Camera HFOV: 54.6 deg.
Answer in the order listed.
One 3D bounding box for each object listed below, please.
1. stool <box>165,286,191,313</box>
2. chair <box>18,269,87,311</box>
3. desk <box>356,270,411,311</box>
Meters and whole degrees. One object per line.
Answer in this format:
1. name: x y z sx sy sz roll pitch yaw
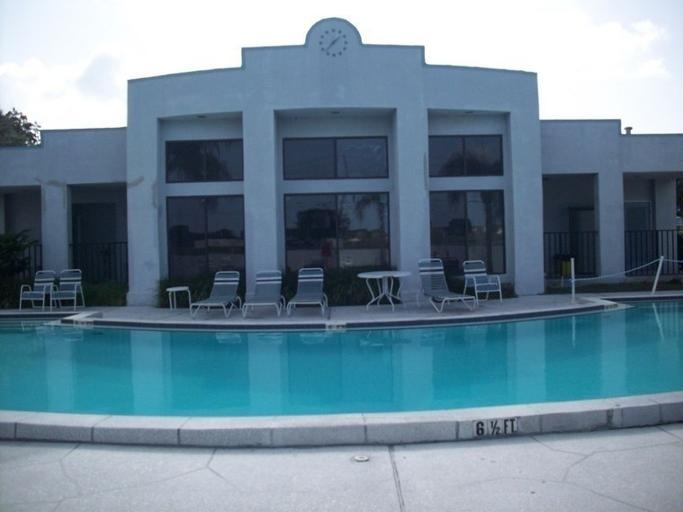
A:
1. stool: -3.877 0.901 15.417 0.703 0.795 0.629 0 -7 -10
2. chair: -7.037 0.797 16.201 1.783 0.970 1.238 -3 -4 20
3. desk: 1.008 0.700 15.265 1.067 0.840 1.677 -2 -4 5
